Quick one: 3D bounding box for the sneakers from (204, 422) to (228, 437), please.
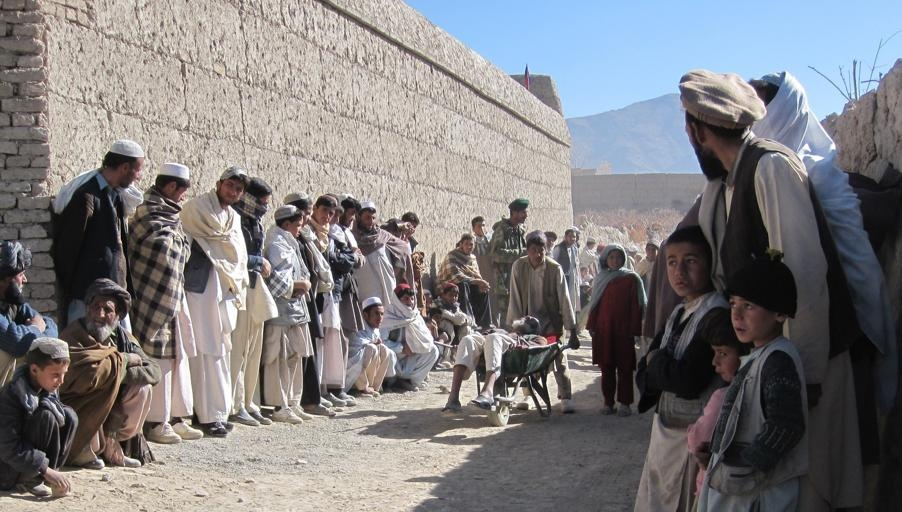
[{"bbox_3d":[-2.359,1.710,8.285,0.241,0.126,0.219,2,7,-15],"label":"sneakers"}]

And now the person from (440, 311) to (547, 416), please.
[{"bbox_3d":[0.473,1.252,9.451,0.640,0.998,1.225,10,10,41],"label":"person"}]

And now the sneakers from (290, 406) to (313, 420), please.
[{"bbox_3d":[-1.646,1.713,9.114,0.301,0.115,0.097,9,-5,-2],"label":"sneakers"}]

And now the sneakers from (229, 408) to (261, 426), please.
[{"bbox_3d":[-2.120,1.704,8.742,0.396,0.140,0.128,2,-7,4],"label":"sneakers"}]

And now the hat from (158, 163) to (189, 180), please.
[{"bbox_3d":[-2.675,-0.785,8.104,0.233,0.103,0.225,7,2,15],"label":"hat"}]

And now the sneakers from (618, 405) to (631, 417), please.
[{"bbox_3d":[2.027,1.795,9.709,0.089,0.104,0.168,-27,-27,28],"label":"sneakers"}]

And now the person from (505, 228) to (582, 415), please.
[{"bbox_3d":[1.111,0.833,10.310,0.903,2.065,0.625,0,5,4],"label":"person"}]

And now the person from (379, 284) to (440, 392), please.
[{"bbox_3d":[-0.583,1.043,10.914,0.912,1.252,0.839,7,7,-4],"label":"person"}]

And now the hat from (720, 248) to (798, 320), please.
[{"bbox_3d":[2.006,0.162,5.326,0.414,0.302,0.433,13,12,12],"label":"hat"}]

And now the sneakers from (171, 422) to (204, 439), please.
[{"bbox_3d":[-2.572,1.692,8.140,0.323,0.114,0.127,6,1,-2],"label":"sneakers"}]

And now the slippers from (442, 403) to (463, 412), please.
[{"bbox_3d":[0.009,1.690,9.321,0.207,0.111,0.145,2,7,-11],"label":"slippers"}]

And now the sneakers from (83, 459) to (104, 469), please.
[{"bbox_3d":[-3.031,1.754,7.058,0.132,0.050,0.064,2,0,-28],"label":"sneakers"}]

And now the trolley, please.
[{"bbox_3d":[0.809,1.430,9.781,0.821,0.833,1.559,-10,-6,31],"label":"trolley"}]

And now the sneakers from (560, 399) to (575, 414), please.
[{"bbox_3d":[1.382,1.790,9.929,0.132,0.126,0.336,-1,-9,2],"label":"sneakers"}]

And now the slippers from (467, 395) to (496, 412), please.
[{"bbox_3d":[0.363,1.593,9.032,0.169,0.100,0.333,-6,-16,30],"label":"slippers"}]

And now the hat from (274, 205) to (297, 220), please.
[{"bbox_3d":[-1.844,-0.490,9.299,0.222,0.116,0.160,-22,10,20],"label":"hat"}]

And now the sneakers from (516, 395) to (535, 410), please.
[{"bbox_3d":[0.903,1.780,10.118,0.191,0.196,0.501,-3,-11,17],"label":"sneakers"}]

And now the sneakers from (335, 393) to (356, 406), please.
[{"bbox_3d":[-1.245,1.696,9.862,0.246,0.088,0.101,13,7,14],"label":"sneakers"}]

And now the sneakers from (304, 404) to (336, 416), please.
[{"bbox_3d":[-1.486,1.738,9.447,0.372,0.129,0.128,2,-8,3],"label":"sneakers"}]

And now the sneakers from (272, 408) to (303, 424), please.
[{"bbox_3d":[-1.780,1.719,8.973,0.356,0.135,0.140,2,0,3],"label":"sneakers"}]

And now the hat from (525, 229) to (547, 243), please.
[{"bbox_3d":[1.048,-0.241,10.269,0.269,0.173,0.260,0,1,8],"label":"hat"}]

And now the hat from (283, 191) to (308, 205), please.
[{"bbox_3d":[-1.743,-0.652,9.457,0.308,0.142,0.142,1,8,-22],"label":"hat"}]

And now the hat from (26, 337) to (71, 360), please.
[{"bbox_3d":[-3.153,0.712,6.493,0.223,0.105,0.214,5,-2,12],"label":"hat"}]

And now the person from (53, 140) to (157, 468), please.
[{"bbox_3d":[-3.093,0.263,7.619,0.956,2.582,0.772,1,-9,-8],"label":"person"}]

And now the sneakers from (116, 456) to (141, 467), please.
[{"bbox_3d":[-2.806,1.777,7.231,0.172,0.069,0.076,0,-2,-12],"label":"sneakers"}]

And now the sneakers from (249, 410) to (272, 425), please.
[{"bbox_3d":[-2.035,1.716,8.880,0.287,0.105,0.102,21,0,11],"label":"sneakers"}]

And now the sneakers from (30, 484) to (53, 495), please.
[{"bbox_3d":[-3.230,1.830,6.536,0.148,0.076,0.098,-2,9,-37],"label":"sneakers"}]

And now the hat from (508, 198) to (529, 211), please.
[{"bbox_3d":[1.028,-0.819,12.872,0.257,0.089,0.269,0,-2,-31],"label":"hat"}]

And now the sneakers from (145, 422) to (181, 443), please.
[{"bbox_3d":[-2.755,1.671,7.891,0.342,0.130,0.166,2,0,9],"label":"sneakers"}]

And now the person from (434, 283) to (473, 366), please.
[{"bbox_3d":[0.055,0.879,11.984,0.712,0.957,0.609,1,1,-1],"label":"person"}]

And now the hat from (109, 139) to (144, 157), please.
[{"bbox_3d":[-3.033,-1.001,7.801,0.180,0.119,0.249,15,15,38],"label":"hat"}]
